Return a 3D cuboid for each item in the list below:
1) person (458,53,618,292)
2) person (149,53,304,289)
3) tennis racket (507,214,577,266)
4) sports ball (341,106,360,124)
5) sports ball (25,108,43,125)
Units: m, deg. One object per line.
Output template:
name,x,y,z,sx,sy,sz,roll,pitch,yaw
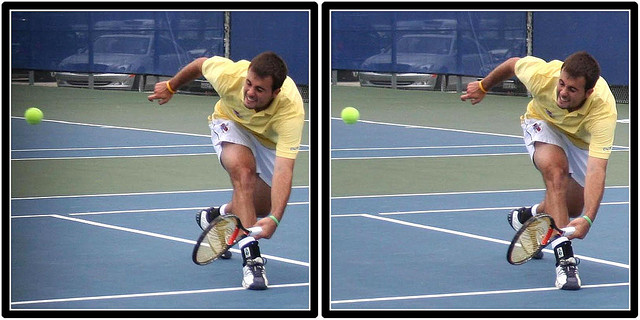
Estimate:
person,3.140,0.099,7.594,0.979,2.919,1.454,-1,8,-27
person,-0.940,0.097,7.432,0.885,2.882,1.567,-3,9,-40
tennis racket,2.611,0.965,6.902,0.886,0.619,0.285,-1,8,-25
sports ball,0.381,-0.572,7.457,0.191,0.197,0.162,1,7,-9
sports ball,-3.948,-0.595,7.925,0.175,0.223,0.447,-1,7,-24
